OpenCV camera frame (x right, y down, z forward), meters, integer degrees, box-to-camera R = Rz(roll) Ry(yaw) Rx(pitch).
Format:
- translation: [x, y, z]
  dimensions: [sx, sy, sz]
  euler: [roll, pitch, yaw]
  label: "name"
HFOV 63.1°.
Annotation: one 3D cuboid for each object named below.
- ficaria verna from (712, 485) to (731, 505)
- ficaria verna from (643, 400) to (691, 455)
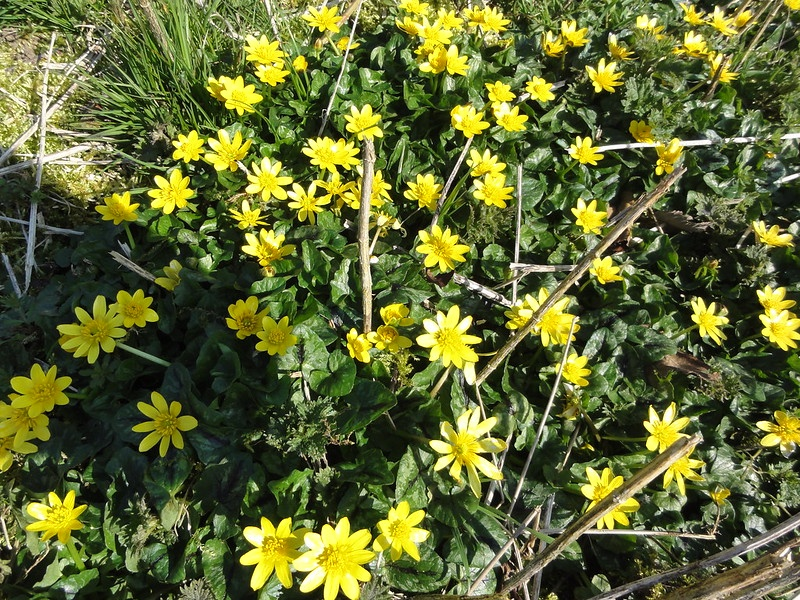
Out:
- translation: [1.575, 0.974, 3.233]
  dimensions: [0.063, 0.069, 0.068]
  euler: [29, 21, 32]
  label: "ficaria verna"
- translation: [1.273, 0.625, 3.164]
  dimensions: [0.261, 0.249, 0.095]
  euler: [-9, -6, -3]
  label: "ficaria verna"
